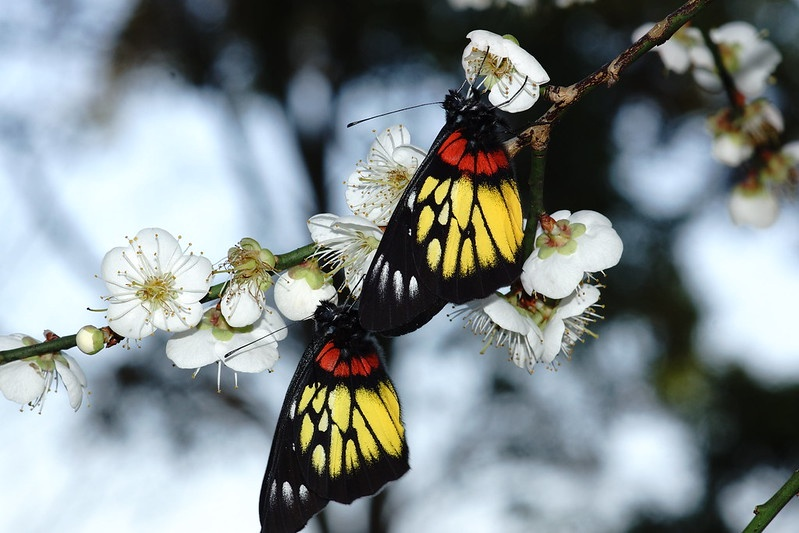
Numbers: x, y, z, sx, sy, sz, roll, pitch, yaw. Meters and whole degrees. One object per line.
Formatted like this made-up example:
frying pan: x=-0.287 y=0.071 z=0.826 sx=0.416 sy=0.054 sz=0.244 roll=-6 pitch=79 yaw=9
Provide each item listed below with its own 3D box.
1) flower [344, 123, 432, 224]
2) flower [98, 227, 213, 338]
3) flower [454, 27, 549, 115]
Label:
flower: x=-0.004 y=-0.323 z=3.894 sx=0.361 sy=0.409 sz=0.156 roll=33 pitch=2 yaw=41
flower: x=-1.005 y=0.064 z=3.662 sx=0.491 sy=0.230 sz=0.533 roll=9 pitch=20 yaw=16
flower: x=0.423 y=-0.798 z=3.647 sx=0.326 sy=0.330 sz=0.122 roll=38 pitch=26 yaw=-11
